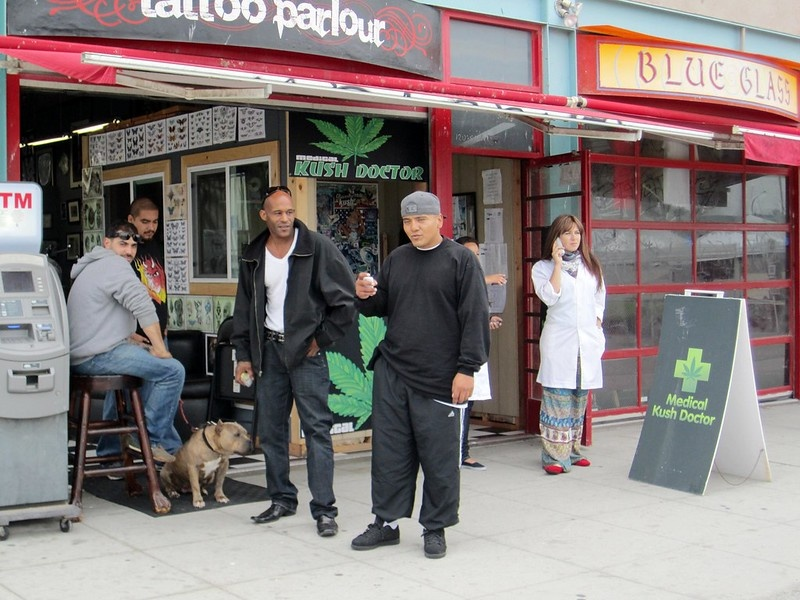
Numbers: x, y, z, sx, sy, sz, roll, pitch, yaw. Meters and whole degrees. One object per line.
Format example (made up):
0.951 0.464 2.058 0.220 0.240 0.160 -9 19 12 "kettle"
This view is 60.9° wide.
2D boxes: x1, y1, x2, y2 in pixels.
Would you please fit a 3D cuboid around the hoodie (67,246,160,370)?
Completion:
-2.124 0.047 4.917 0.902 0.820 0.552 -12 -11 43 "hoodie"

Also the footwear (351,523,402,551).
-0.128 1.388 4.032 0.294 0.165 0.118 3 1 -26 "footwear"

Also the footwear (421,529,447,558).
0.203 1.386 3.917 0.129 0.114 0.213 0 0 1 "footwear"

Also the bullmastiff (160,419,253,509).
-1.355 1.145 4.895 0.430 0.736 0.882 5 -6 -44 "bullmastiff"

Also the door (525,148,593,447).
1.749 -0.057 7.252 0.959 2.782 0.829 0 0 -7 "door"

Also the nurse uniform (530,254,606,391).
1.479 0.175 6.085 0.592 1.139 0.571 2 8 -9 "nurse uniform"

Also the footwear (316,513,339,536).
-0.455 1.410 4.264 0.131 0.103 0.173 0 0 -8 "footwear"

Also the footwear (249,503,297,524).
-0.845 1.410 4.552 0.290 0.115 0.102 2 -2 -41 "footwear"

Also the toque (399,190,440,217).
0.104 -0.550 3.934 0.158 0.109 0.167 -1 7 -9 "toque"

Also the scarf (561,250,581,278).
1.513 -0.317 6.013 0.207 0.210 0.076 -2 -10 -6 "scarf"
